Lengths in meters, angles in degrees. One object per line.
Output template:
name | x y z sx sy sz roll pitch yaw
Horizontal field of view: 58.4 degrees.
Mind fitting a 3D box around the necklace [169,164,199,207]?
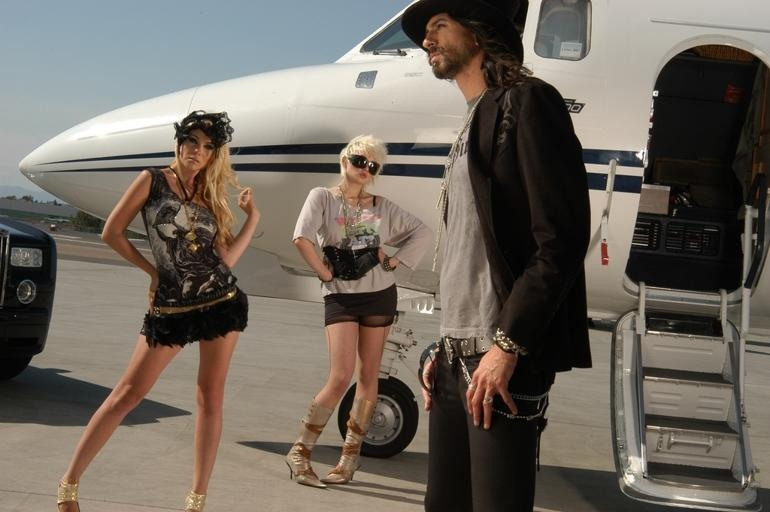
necklace | -1.317 -0.466 4.540 0.071 0.252 0.197 -35 -3 30

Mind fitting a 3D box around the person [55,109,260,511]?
person | -1.399 0.400 4.512 1.005 2.753 0.480 6 3 -11

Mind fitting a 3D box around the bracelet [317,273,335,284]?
bracelet | -0.451 0.183 5.446 0.088 0.039 0.112 16 -7 -26

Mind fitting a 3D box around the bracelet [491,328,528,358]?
bracelet | 0.634 0.399 3.232 0.152 0.108 0.052 24 41 0

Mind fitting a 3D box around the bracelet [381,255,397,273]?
bracelet | 0.077 0.068 5.560 0.104 0.075 0.130 9 45 -24

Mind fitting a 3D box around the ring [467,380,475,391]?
ring | 0.454 0.626 3.309 0.017 0.032 0.046 16 5 -17

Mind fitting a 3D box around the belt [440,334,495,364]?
belt | 0.441 0.444 3.401 0.183 0.073 0.172 -1 0 -2
